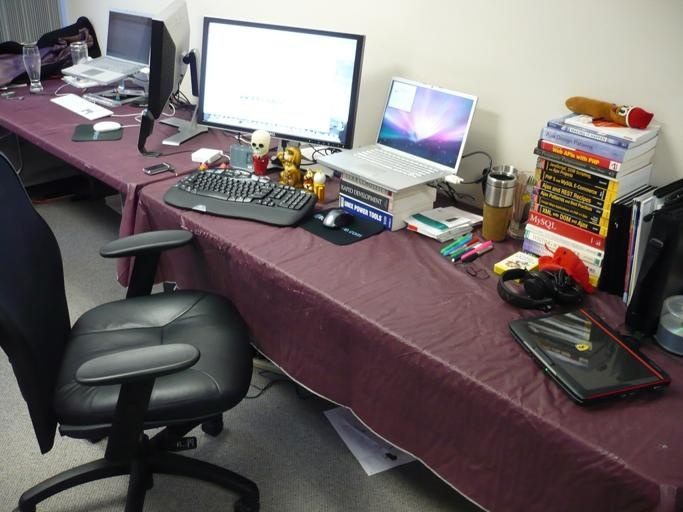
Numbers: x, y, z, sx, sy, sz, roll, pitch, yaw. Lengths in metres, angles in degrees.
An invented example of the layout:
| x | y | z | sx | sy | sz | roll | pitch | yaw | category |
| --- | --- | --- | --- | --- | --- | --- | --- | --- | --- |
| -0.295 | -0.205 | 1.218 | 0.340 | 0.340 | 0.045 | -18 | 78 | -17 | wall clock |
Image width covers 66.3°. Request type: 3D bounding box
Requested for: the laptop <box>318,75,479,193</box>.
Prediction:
| x | y | z | sx | sy | sz | roll | pitch | yaw | category |
| --- | --- | --- | --- | --- | --- | --- | --- | --- | --- |
| 0.189 | -0.357 | 1.864 | 0.464 | 0.316 | 0.502 | -22 | 39 | -34 | laptop |

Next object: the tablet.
| x | y | z | sx | sy | sz | roll | pitch | yaw | category |
| --- | --- | --- | --- | --- | --- | --- | --- | --- | --- |
| 0.602 | 0.244 | 1.298 | 0.252 | 0.074 | 0.299 | -6 | 31 | -22 | tablet |

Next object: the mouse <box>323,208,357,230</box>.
| x | y | z | sx | sy | sz | roll | pitch | yaw | category |
| --- | --- | --- | --- | --- | --- | --- | --- | --- | --- |
| -0.017 | -0.133 | 1.790 | 0.056 | 0.035 | 0.103 | 24 | 26 | 25 | mouse |

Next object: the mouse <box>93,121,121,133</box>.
| x | y | z | sx | sy | sz | roll | pitch | yaw | category |
| --- | --- | --- | --- | --- | --- | --- | --- | --- | --- |
| -1.075 | -0.600 | 2.404 | 0.096 | 0.020 | 0.067 | -18 | 34 | -41 | mouse |

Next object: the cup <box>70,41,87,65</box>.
| x | y | z | sx | sy | sz | roll | pitch | yaw | category |
| --- | --- | --- | --- | --- | --- | --- | --- | --- | --- |
| -1.588 | -1.223 | 3.158 | 0.092 | 0.137 | 0.095 | 8 | 41 | -7 | cup |

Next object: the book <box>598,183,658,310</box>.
| x | y | z | sx | sy | sz | roll | pitch | yaw | category |
| --- | --- | --- | --- | --- | --- | --- | --- | --- | --- |
| 0.784 | -0.026 | 1.428 | 0.154 | 0.288 | 0.223 | 18 | 34 | 29 | book |

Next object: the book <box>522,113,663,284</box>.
| x | y | z | sx | sy | sz | roll | pitch | yaw | category |
| --- | --- | --- | --- | --- | --- | --- | --- | --- | --- |
| 0.734 | -0.161 | 1.495 | 0.300 | 0.412 | 0.281 | -23 | 45 | -36 | book |
